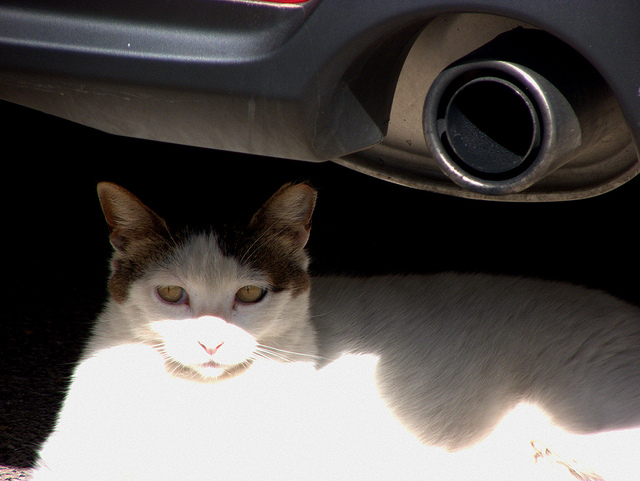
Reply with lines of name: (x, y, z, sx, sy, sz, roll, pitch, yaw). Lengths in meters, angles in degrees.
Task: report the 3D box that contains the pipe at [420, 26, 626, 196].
pipe: (0.619, -0.421, 2.673, 0.405, 0.808, 0.294, -29, 87, 29)
